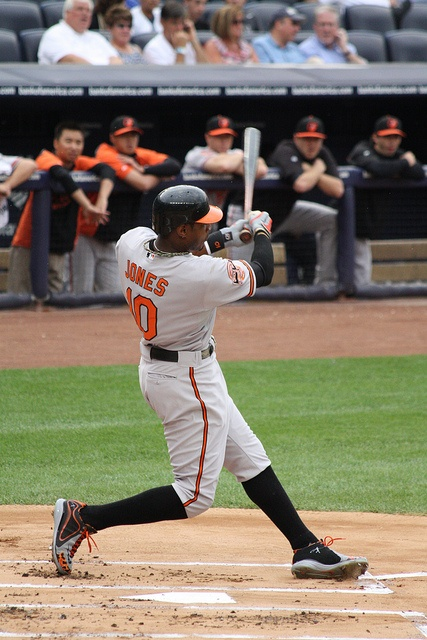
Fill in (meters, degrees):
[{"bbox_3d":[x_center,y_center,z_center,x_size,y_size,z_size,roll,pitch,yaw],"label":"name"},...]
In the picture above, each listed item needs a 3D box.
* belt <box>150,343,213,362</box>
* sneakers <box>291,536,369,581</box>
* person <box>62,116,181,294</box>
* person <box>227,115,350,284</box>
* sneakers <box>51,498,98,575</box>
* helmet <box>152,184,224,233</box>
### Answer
[{"bbox_3d":[-0.114,0.116,4.090,0.220,0.052,0.094,1,10,-4],"label":"belt"},{"bbox_3d":[0.418,0.866,4.263,0.267,0.126,0.124,0,-8,-2],"label":"sneakers"},{"bbox_3d":[-0.607,-0.650,7.392,0.607,1.156,0.486,-21,31,-39],"label":"person"},{"bbox_3d":[0.463,-0.778,7.716,0.571,1.042,0.472,-4,22,-24],"label":"person"},{"bbox_3d":[-0.497,0.738,4.200,0.161,0.303,0.106,-5,-3,8],"label":"sneakers"},{"bbox_3d":[-0.091,-0.378,4.047,0.218,0.108,0.140,-9,24,-11],"label":"helmet"}]
